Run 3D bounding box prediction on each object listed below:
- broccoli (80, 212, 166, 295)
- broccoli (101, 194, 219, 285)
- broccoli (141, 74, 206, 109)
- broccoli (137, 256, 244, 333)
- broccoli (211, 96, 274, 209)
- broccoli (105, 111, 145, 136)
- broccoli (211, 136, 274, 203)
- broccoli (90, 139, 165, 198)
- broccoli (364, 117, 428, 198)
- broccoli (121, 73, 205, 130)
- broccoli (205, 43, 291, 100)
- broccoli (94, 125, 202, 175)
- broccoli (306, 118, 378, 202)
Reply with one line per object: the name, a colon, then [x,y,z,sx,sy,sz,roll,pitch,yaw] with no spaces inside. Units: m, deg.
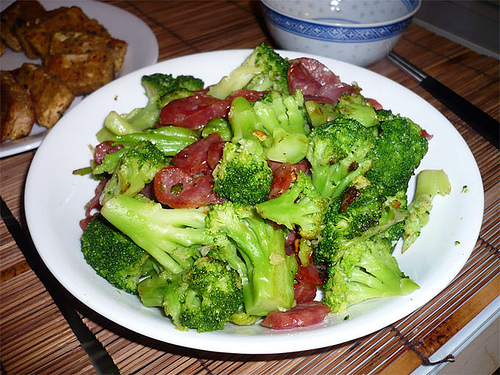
broccoli: [-0.632,0.332,1.993,0.427,0.341,0.138,39,116,16]
broccoli: [-0.428,0.216,1.954,0.548,0.197,0.447,26,29,-3]
broccoli: [-0.514,-0.628,2.555,0.322,0.304,0.130,7,81,9]
broccoli: [-0.265,0.491,1.883,0.427,0.215,0.314,3,71,-1]
broccoli: [-0.002,-0.202,2.014,0.280,0.233,0.586,8,76,2]
broccoli: [-0.684,-0.361,2.296,0.115,0.225,0.069,-22,79,-30]
broccoli: [-0.033,-0.058,1.896,0.297,0.126,0.291,3,80,0]
broccoli: [-0.606,-0.095,2.068,0.344,0.123,0.346,-43,40,-20]
broccoli: [0.747,-0.145,2.243,0.286,0.101,0.452,32,78,-10]
broccoli: [-0.528,-0.508,2.489,0.410,0.194,0.397,21,52,15]
broccoli: [0.001,-0.657,2.603,0.494,0.233,0.291,-19,56,0]
broccoli: [-0.563,-0.187,2.314,0.513,0.123,0.265,-9,62,4]
broccoli: [0.466,-0.125,2.099,0.319,0.308,0.369,25,88,-14]
